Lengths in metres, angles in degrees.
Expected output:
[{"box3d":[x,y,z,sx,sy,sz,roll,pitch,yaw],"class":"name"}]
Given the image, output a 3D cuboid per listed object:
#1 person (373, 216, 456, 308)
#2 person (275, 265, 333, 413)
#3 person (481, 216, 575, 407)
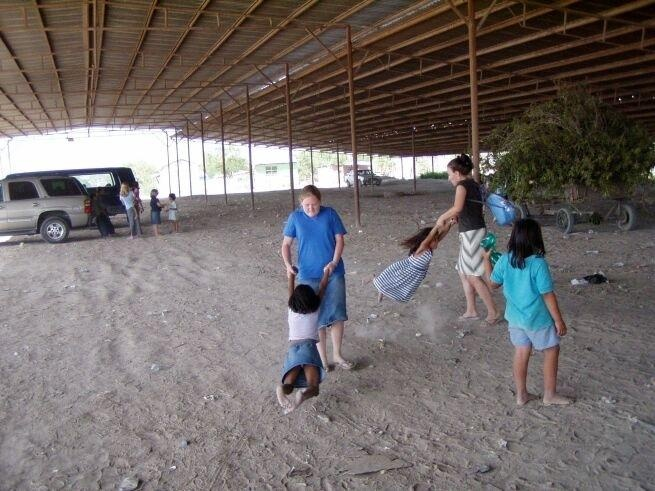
[{"box3d":[1.060,0.180,6.027,0.579,1.354,0.570,10,26,-42],"class":"person"},{"box3d":[-0.238,1.070,4.987,0.592,1.461,0.953,-4,11,2],"class":"person"},{"box3d":[1.982,0.692,4.663,0.714,1.907,0.352,1,12,27],"class":"person"}]
